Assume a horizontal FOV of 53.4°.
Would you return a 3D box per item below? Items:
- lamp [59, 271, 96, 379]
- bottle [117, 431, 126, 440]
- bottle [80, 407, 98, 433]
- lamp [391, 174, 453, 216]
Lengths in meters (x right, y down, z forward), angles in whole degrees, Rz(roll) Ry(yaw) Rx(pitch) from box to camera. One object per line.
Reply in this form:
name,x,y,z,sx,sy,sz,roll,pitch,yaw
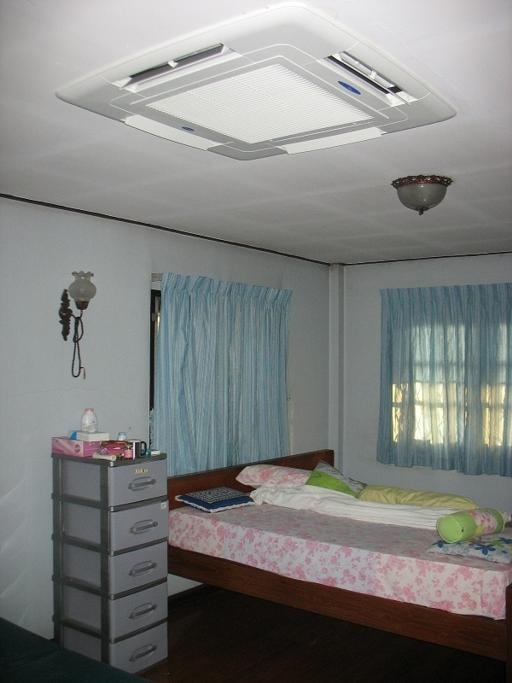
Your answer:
lamp,-1.136,-0.120,3.294,0.255,0.709,0.258,8,-12,-41
bottle,-0.929,0.653,3.540,0.070,0.065,0.051,5,-5,-11
bottle,-1.053,0.495,3.213,0.080,0.142,0.166,3,-10,-22
lamp,0.847,-0.765,2.682,0.237,0.142,0.232,-2,2,-24
